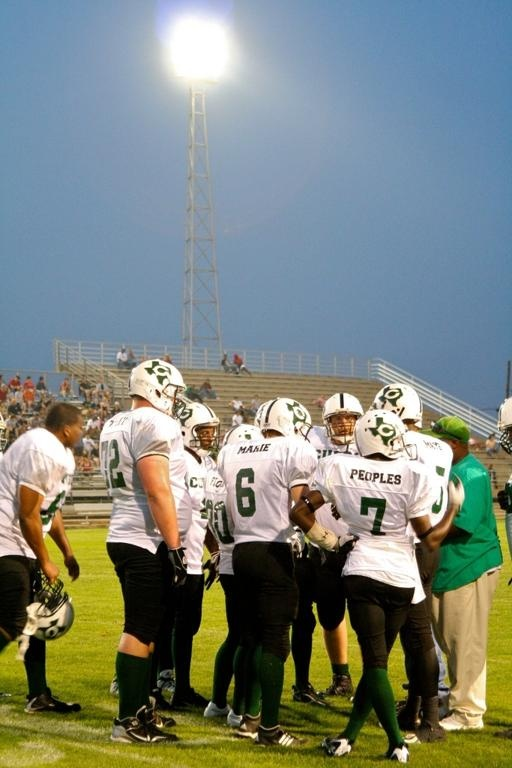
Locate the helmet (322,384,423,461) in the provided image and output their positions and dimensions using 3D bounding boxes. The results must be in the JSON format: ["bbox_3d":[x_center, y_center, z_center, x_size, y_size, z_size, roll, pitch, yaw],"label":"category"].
[{"bbox_3d":[0.834,0.149,5.813,0.394,0.530,0.531,-9,-19,39],"label":"helmet"}]

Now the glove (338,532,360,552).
[{"bbox_3d":[0.464,0.793,4.725,0.097,0.088,0.064,1,-3,-2],"label":"glove"}]

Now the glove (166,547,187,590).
[{"bbox_3d":[-0.384,0.936,4.876,0.145,0.182,0.139,11,8,-4],"label":"glove"}]

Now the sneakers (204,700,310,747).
[{"bbox_3d":[-0.027,1.761,4.949,0.489,0.211,0.160,-3,-8,23],"label":"sneakers"}]

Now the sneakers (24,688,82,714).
[{"bbox_3d":[-1.150,1.784,5.364,0.355,0.158,0.118,2,-8,-4],"label":"sneakers"}]

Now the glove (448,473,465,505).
[{"bbox_3d":[1.084,0.568,5.096,0.076,0.172,0.056,-9,5,-5],"label":"glove"}]

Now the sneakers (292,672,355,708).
[{"bbox_3d":[0.469,1.924,5.956,0.435,0.192,0.144,15,-26,-29],"label":"sneakers"}]

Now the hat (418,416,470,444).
[{"bbox_3d":[1.175,0.281,5.800,0.244,0.134,0.159,4,-1,4],"label":"hat"}]
